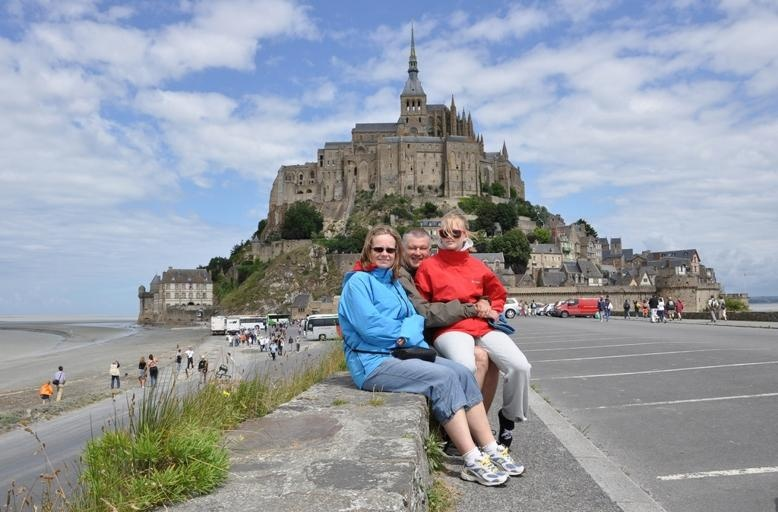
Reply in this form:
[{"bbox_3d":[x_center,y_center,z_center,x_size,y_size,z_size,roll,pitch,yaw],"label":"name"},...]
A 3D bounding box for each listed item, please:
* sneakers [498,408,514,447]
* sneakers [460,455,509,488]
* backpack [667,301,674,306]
[{"bbox_3d":[1.283,1.923,5.894,0.168,0.468,0.187,-2,1,1],"label":"sneakers"},{"bbox_3d":[0.895,2.038,5.085,0.475,0.235,0.200,0,0,23],"label":"sneakers"},{"bbox_3d":[17.932,2.972,33.678,0.342,0.468,0.168,2,-6,-2],"label":"backpack"}]
